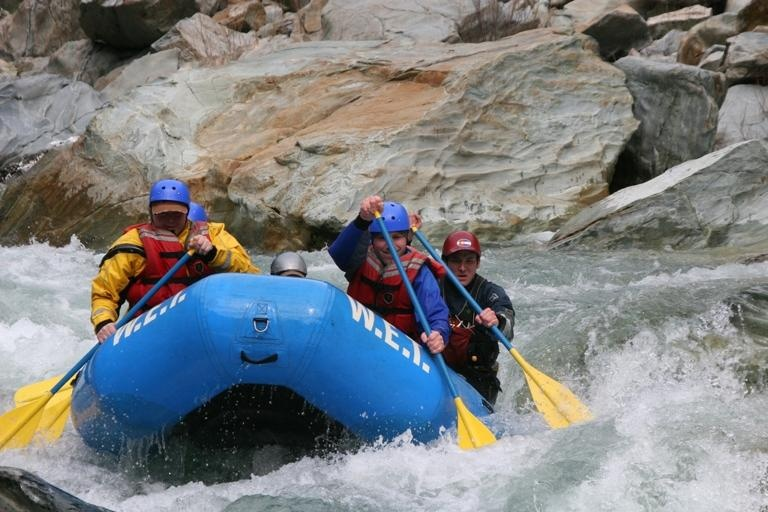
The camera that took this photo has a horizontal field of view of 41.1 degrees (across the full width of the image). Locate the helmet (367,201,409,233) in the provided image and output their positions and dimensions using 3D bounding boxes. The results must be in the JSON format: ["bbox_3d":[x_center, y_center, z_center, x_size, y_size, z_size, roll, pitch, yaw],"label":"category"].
[{"bbox_3d":[0.076,-0.521,12.281,0.319,0.343,0.432,0,32,2],"label":"helmet"}]

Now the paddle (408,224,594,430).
[{"bbox_3d":[1.470,0.981,12.701,0.442,0.201,2.971,-28,70,-19],"label":"paddle"}]

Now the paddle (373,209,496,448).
[{"bbox_3d":[0.547,0.955,11.847,0.447,0.320,3.044,-26,79,-1],"label":"paddle"}]
